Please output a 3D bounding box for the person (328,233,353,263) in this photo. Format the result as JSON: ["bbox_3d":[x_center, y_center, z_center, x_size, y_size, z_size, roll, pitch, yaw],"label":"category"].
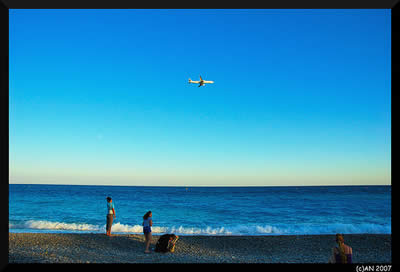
[{"bbox_3d":[11.091,8.918,32.109,1.578,2.327,0.628,2,9,17],"label":"person"}]

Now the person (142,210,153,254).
[{"bbox_3d":[-4.523,8.193,35.405,0.732,3.735,1.351,-2,9,-7],"label":"person"}]
